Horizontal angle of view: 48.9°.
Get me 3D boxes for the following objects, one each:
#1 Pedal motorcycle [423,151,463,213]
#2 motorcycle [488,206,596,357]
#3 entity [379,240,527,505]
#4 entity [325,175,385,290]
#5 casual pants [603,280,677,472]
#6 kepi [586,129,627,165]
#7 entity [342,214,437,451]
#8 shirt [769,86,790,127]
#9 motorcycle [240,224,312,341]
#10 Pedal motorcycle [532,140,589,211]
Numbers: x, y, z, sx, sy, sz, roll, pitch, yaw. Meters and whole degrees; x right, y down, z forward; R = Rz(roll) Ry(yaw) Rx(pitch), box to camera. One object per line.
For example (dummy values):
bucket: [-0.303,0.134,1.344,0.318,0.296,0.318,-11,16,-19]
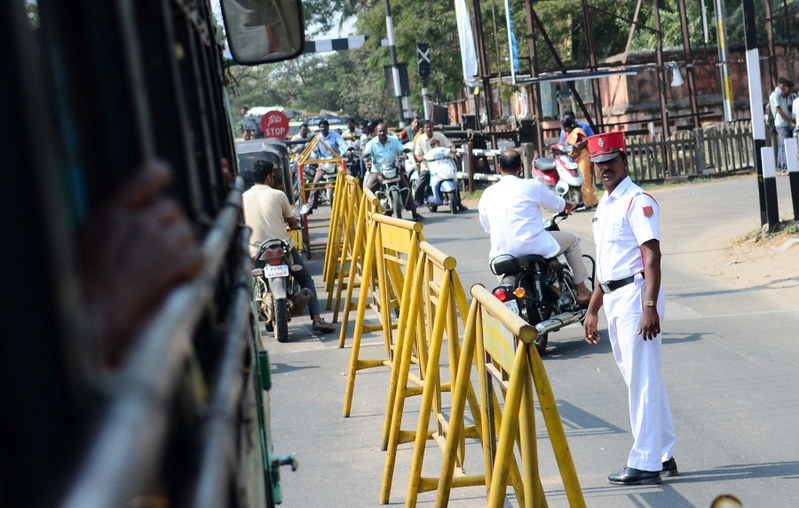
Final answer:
Pedal motorcycle: [0.816,-1.448,17.378,0.501,1.302,1.985,-9,5,-6]
motorcycle: [1.322,0.196,7.732,0.672,1.154,1.631,-14,-1,35]
entity: [0.296,0.720,5.202,0.368,0.918,1.234,-1,10,-4]
entity: [-0.515,-0.234,10.099,0.378,0.978,1.507,6,11,-2]
casual pants: [1.359,0.666,5.020,0.316,1.067,0.417,-3,8,7]
kepi: [1.197,-0.634,5.179,0.157,0.130,0.227,-8,6,33]
entity: [-0.079,0.615,6.588,0.401,1.075,1.351,5,7,-3]
shirt: [7.073,-2.749,16.475,0.333,0.721,0.467,-1,9,25]
motorcycle: [-1.118,0.284,8.604,0.523,0.939,1.400,-10,15,2]
Pedal motorcycle: [2.587,-1.367,14.630,0.444,0.992,1.481,-7,13,-21]
